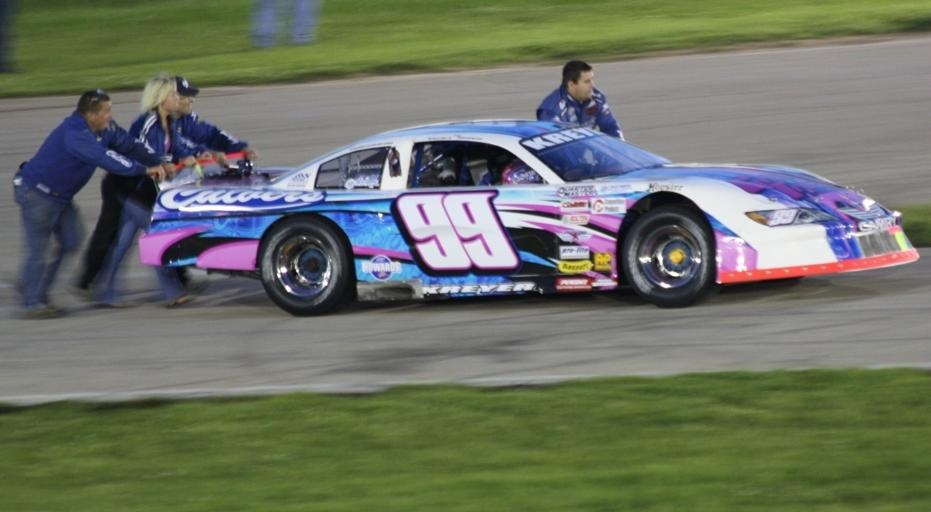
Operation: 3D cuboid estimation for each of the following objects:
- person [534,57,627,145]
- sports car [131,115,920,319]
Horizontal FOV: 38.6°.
[{"bbox_3d":[1.674,-2.037,18.617,1.009,1.107,1.423,-15,22,-33],"label":"person"},{"bbox_3d":[0.613,-0.449,17.699,9.057,1.640,3.233,-1,4,13],"label":"sports car"}]
